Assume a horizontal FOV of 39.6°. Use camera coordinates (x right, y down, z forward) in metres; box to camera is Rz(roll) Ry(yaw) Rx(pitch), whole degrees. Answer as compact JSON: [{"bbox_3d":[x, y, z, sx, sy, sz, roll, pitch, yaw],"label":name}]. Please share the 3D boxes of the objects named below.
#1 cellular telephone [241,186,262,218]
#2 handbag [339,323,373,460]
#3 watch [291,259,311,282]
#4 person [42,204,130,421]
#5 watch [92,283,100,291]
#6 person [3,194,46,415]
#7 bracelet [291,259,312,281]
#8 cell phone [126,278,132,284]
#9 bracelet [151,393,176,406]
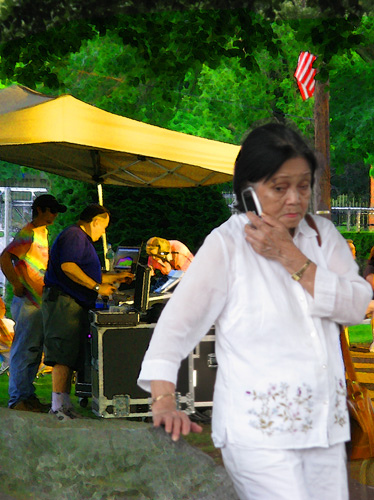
[{"bbox_3d":[0.185,-0.141,1.518,0.031,0.075,0.072,3,-1,-33],"label":"cellular telephone"},{"bbox_3d":[0.718,0.629,2.184,0.123,0.439,0.610,2,-1,20],"label":"handbag"},{"bbox_3d":[0.314,0.053,1.445,0.020,0.052,0.056,42,14,15],"label":"watch"},{"bbox_3d":[-1.083,0.545,5.353,0.732,1.958,1.532,2,-1,-8],"label":"person"},{"bbox_3d":[-0.875,0.350,4.986,0.051,0.063,0.053,2,-1,-8],"label":"watch"},{"bbox_3d":[-1.706,0.511,5.541,0.459,2.241,0.570,3,-1,-30],"label":"person"},{"bbox_3d":[0.312,0.056,1.463,0.015,0.049,0.057,44,41,19],"label":"bracelet"},{"bbox_3d":[-0.710,0.371,6.254,0.068,0.052,0.015,-1,10,-43],"label":"cell phone"},{"bbox_3d":[-0.062,0.394,1.389,0.060,0.027,0.040,2,-1,-3],"label":"bracelet"}]
